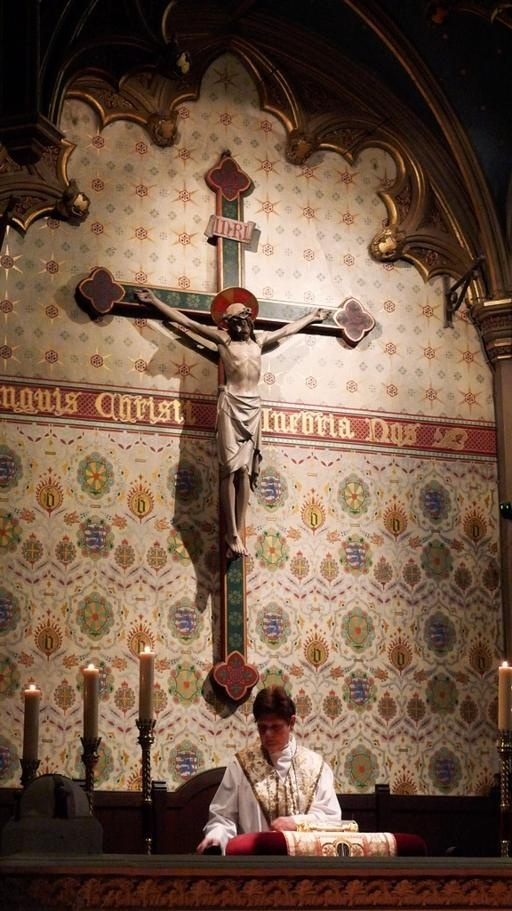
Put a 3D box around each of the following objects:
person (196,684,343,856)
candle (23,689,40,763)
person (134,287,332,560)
[{"bbox_3d":[0.057,1.083,4.433,0.470,0.532,0.787,-1,-10,3],"label":"person"},{"bbox_3d":[-0.675,0.806,3.828,0.041,0.223,0.110,2,-10,-13],"label":"candle"},{"bbox_3d":[-0.087,-0.128,5.545,0.866,1.149,0.291,6,-11,-32],"label":"person"}]
